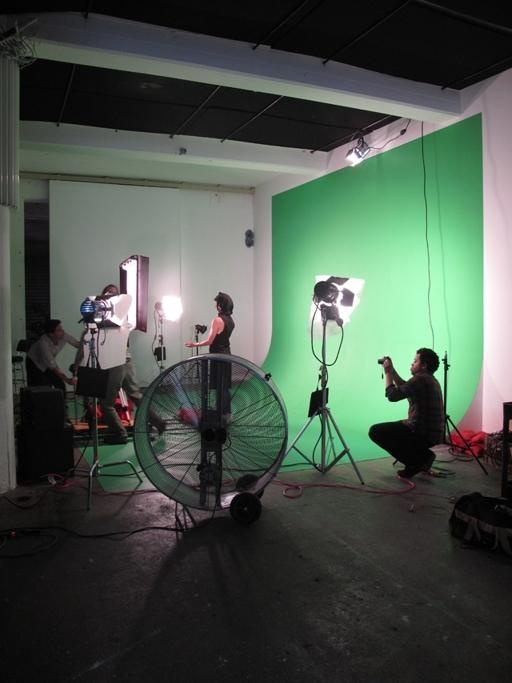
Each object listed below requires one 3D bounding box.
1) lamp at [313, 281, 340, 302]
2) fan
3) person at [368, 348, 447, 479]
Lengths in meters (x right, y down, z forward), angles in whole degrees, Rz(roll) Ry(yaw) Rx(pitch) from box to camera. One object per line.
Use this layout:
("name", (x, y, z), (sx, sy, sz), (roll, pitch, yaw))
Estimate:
("lamp", (0.533, -0.374, 4.009), (0.188, 0.167, 0.098), (0, 1, 9))
("fan", (-0.244, 0.536, 2.813), (0.849, 0.909, 0.374), (1, 10, 1))
("person", (1.115, 0.523, 3.906), (0.527, 0.931, 0.359), (0, 1, 19))
